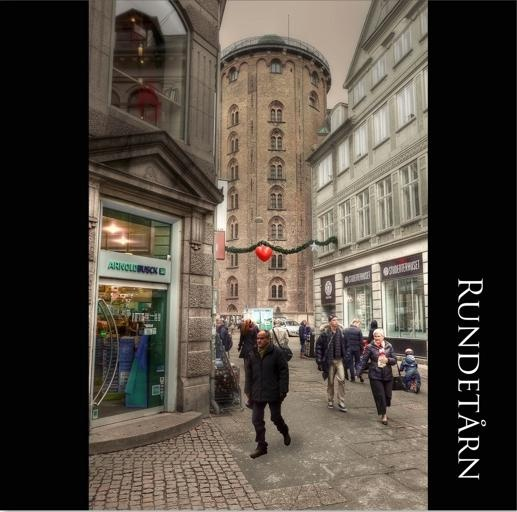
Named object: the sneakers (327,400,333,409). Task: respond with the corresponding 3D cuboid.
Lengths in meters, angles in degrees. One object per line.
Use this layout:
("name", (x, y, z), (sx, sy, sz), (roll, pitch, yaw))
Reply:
("sneakers", (1.512, 3.160, 9.863), (0.085, 0.125, 0.277), (-1, -17, 3))

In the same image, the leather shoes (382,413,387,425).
("leather shoes", (2.238, 2.926, 8.317), (0.090, 0.146, 0.324), (-3, -22, 6))

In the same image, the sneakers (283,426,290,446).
("sneakers", (0.421, 2.722, 7.019), (0.078, 0.276, 0.108), (-7, -19, 8))

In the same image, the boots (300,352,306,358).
("boots", (2.083, 4.633, 21.708), (0.196, 0.234, 0.130), (4, -10, -5))

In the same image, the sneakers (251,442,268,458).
("sneakers", (0.016, 2.720, 6.485), (0.108, 0.235, 0.300), (-17, -25, 41))

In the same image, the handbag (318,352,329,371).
("handbag", (1.366, 2.243, 9.779), (0.204, 0.332, 0.090), (-3, -7, 25))

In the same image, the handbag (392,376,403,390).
("handbag", (3.136, 2.891, 10.522), (0.246, 0.421, 0.383), (-2, -5, 20))
